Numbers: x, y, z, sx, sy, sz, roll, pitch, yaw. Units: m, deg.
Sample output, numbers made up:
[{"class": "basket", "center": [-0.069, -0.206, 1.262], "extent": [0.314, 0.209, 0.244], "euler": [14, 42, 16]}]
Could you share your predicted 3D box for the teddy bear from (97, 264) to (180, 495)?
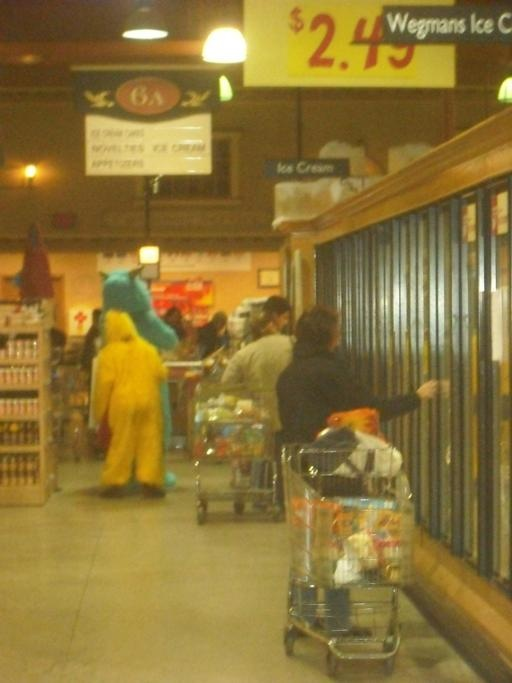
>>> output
[{"class": "teddy bear", "center": [-0.822, 0.291, 6.769], "extent": [0.458, 1.693, 0.399], "euler": [1, -16, -10]}]

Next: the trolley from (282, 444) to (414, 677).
[{"class": "trolley", "center": [0.307, 0.787, 3.444], "extent": [0.431, 0.781, 0.577], "euler": [0, 2, 2]}]

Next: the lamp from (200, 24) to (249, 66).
[{"class": "lamp", "center": [-0.136, -1.225, 3.952], "extent": [0.174, 0.124, 0.192], "euler": [0, 9, -5]}]

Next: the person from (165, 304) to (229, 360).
[{"class": "person", "center": [-0.588, -0.100, 9.438], "extent": [0.301, 0.388, 1.072], "euler": [15, 12, 1]}]

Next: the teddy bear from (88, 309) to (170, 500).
[{"class": "teddy bear", "center": [-0.853, 0.424, 6.424], "extent": [0.501, 1.248, 0.342], "euler": [-1, 2, -11]}]

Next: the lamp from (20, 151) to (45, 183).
[{"class": "lamp", "center": [-3.199, -2.517, 13.831], "extent": [0.299, 0.480, 0.265], "euler": [-3, 3, -41]}]
